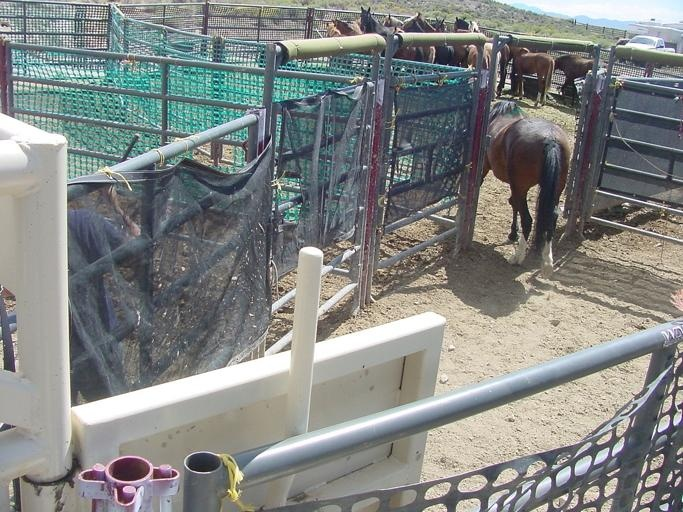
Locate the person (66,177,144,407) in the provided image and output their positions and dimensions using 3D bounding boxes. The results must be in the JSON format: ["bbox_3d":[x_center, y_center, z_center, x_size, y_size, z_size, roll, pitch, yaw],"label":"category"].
[{"bbox_3d":[-0.850,0.154,2.720,0.243,0.749,0.170,-4,13,3],"label":"person"}]

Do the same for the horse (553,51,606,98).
[{"bbox_3d":[5.734,-4.473,19.420,0.756,1.050,2.129,9,21,11],"label":"horse"}]

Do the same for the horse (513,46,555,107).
[{"bbox_3d":[4.596,-4.456,18.786,0.438,1.348,1.795,-7,23,-22],"label":"horse"}]
